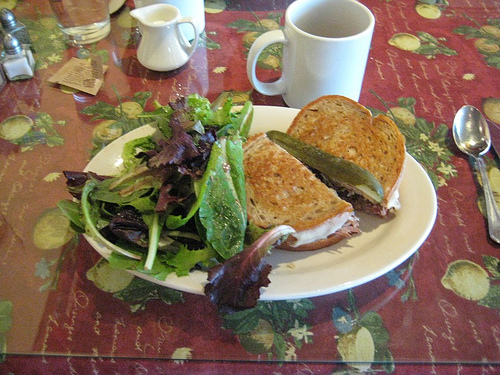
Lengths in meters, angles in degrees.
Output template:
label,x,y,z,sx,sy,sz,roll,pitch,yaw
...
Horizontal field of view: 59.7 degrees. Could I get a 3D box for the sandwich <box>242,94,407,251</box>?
label,x,y,z,sx,sy,sz,roll,pitch,yaw
sandwich,0.156,-0.006,0.852,0.301,0.089,0.270,-32,66,-10

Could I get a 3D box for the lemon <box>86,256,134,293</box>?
label,x,y,z,sx,sy,sz,roll,pitch,yaw
lemon,-0.231,0.141,0.758,0.070,0.036,0.089,-15,29,-13

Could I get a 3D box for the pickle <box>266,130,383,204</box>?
label,x,y,z,sx,sy,sz,roll,pitch,yaw
pickle,0.137,-0.040,0.756,0.269,0.045,0.070,33,31,16

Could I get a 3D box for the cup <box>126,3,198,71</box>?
label,x,y,z,sx,sy,sz,roll,pitch,yaw
cup,-0.166,-0.335,1.017,0.183,0.119,0.123,11,70,2

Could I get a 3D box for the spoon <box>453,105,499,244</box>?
label,x,y,z,sx,sy,sz,roll,pitch,yaw
spoon,0.439,-0.033,0.876,0.056,0.038,0.285,6,59,1
